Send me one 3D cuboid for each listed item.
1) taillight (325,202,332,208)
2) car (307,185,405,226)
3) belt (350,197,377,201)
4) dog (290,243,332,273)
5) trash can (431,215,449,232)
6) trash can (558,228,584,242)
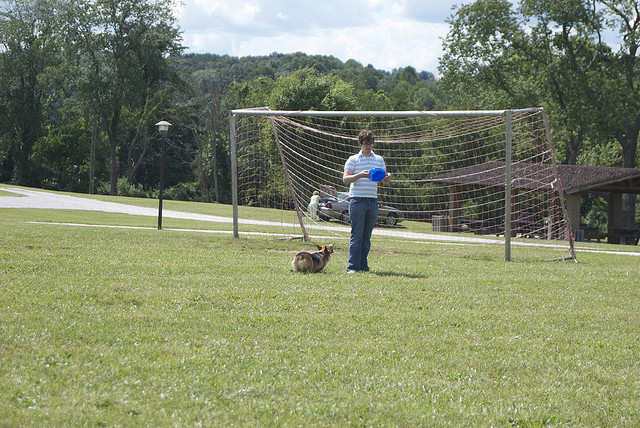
[{"bbox_3d":[0.639,-0.587,64.020,0.298,0.393,0.141,0,-14,0],"label":"taillight"},{"bbox_3d":[3.020,-0.467,64.874,6.370,2.228,2.913,-1,2,-19],"label":"car"},{"bbox_3d":[2.046,-0.731,43.189,1.101,0.185,0.162,3,0,-6],"label":"belt"},{"bbox_3d":[-0.383,2.224,43.593,1.007,1.381,2.722,0,2,44],"label":"dog"},{"bbox_3d":[8.868,0.690,67.226,1.175,1.193,3.894,3,-1,8],"label":"trash can"},{"bbox_3d":[17.117,1.401,61.449,0.882,0.870,3.071,3,-1,39],"label":"trash can"}]
